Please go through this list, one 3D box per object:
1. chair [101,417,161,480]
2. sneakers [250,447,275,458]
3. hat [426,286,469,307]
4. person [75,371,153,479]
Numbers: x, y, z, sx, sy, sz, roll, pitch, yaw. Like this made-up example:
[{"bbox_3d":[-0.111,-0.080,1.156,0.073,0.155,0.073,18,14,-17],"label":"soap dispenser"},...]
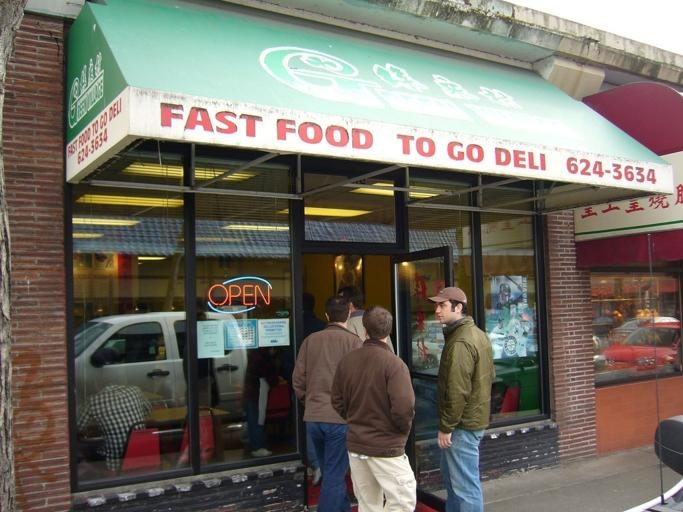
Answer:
[{"bbox_3d":[-2.111,1.945,6.628,0.503,0.546,0.452,4,-8,-29],"label":"chair"},{"bbox_3d":[-0.858,2.136,7.096,0.194,0.080,0.080,0,-2,-15],"label":"sneakers"},{"bbox_3d":[1.071,0.407,6.577,0.284,0.137,0.195,3,-11,-1],"label":"hat"},{"bbox_3d":[-2.333,1.715,6.868,0.884,0.996,0.722,1,5,-27],"label":"person"}]
